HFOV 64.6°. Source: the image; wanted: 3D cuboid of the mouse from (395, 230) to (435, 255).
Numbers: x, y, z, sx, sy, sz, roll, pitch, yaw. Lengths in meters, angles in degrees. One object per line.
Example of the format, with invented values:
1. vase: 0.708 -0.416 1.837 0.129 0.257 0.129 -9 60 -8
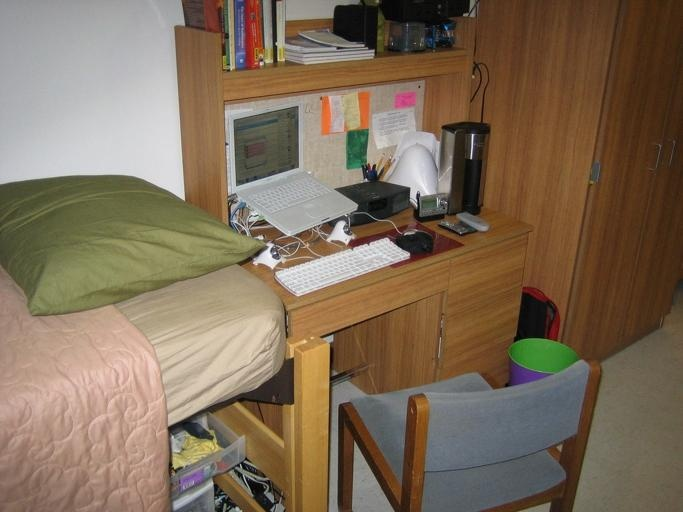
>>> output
1. mouse: 0.298 -0.076 2.206 0.112 0.036 0.112 21 32 32

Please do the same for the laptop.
1. laptop: -0.179 -0.365 2.191 0.502 0.315 0.458 27 37 15

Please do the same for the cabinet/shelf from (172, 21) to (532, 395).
1. cabinet/shelf: 0.140 -0.004 2.434 1.290 1.493 0.837 -13 36 -16

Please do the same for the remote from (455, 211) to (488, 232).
1. remote: 0.592 -0.164 2.428 0.064 0.028 0.126 -19 34 -21

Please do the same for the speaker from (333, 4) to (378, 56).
1. speaker: 0.065 -0.943 2.256 0.251 0.249 0.087 16 22 35

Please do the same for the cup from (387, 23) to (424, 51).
1. cup: 0.279 -0.988 2.456 0.152 0.134 0.145 0 31 0

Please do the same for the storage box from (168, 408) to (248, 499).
1. storage box: -0.530 0.712 1.992 0.255 0.105 0.253 -19 28 -40
